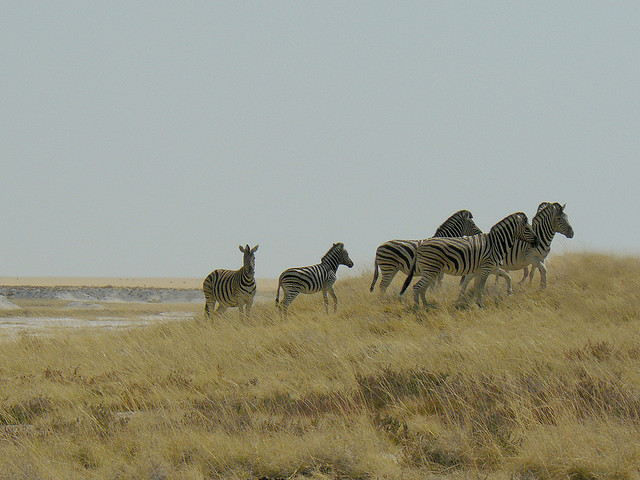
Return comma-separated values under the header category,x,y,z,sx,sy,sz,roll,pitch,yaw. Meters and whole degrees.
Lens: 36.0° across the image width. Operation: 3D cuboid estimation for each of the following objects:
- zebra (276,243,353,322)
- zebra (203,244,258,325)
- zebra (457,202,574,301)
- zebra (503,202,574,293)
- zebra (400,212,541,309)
category,x,y,z,sx,sy,sz,roll,pitch,yaw
zebra,-0.160,1.015,23.844,1.799,2.035,1.204,5,-5,-22
zebra,-2.086,1.087,23.071,1.851,2.018,0.581,-2,2,42
zebra,4.752,0.324,23.986,2.663,2.509,0.837,-3,15,18
zebra,5.135,0.328,24.273,0.720,2.497,2.725,2,-4,-34
zebra,3.562,0.419,22.902,2.675,2.340,1.321,5,-5,-20
